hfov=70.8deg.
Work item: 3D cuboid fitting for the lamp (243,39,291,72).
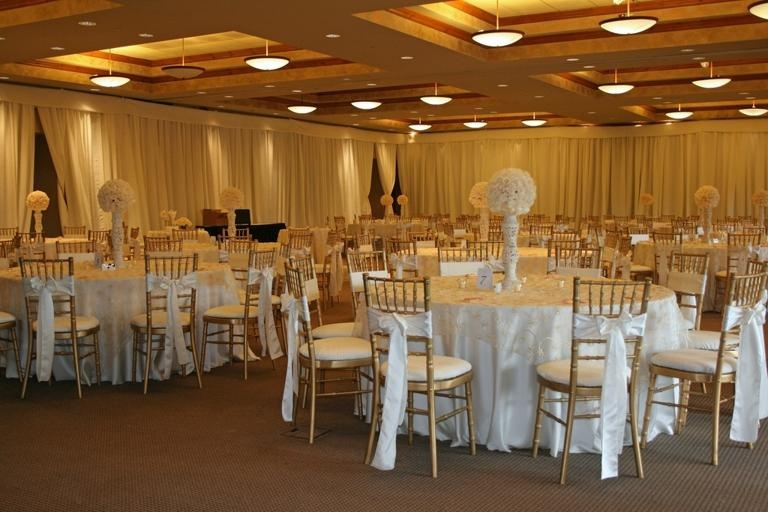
[{"bbox_3d":[-1.827,-3.024,8.392,0.524,0.172,0.608,-8,13,-30],"label":"lamp"}]

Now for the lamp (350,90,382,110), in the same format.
[{"bbox_3d":[-0.445,-3.655,12.560,0.838,0.184,0.716,1,0,-12],"label":"lamp"}]

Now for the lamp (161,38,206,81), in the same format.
[{"bbox_3d":[-3.743,-3.561,9.952,0.612,0.691,2.697,-7,13,-18],"label":"lamp"}]

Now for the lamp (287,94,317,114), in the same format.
[{"bbox_3d":[-2.041,-3.793,13.399,0.722,0.531,2.386,-3,11,-7],"label":"lamp"}]

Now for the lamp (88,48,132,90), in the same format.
[{"bbox_3d":[-5.186,-3.497,10.115,0.569,0.745,1.862,-9,14,-23],"label":"lamp"}]
